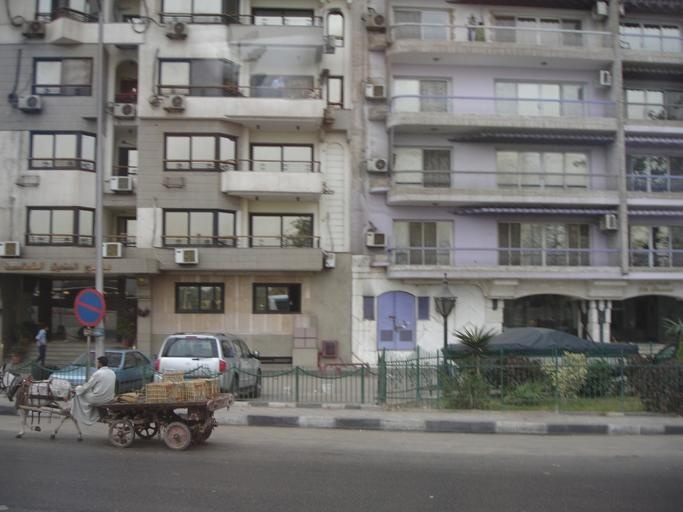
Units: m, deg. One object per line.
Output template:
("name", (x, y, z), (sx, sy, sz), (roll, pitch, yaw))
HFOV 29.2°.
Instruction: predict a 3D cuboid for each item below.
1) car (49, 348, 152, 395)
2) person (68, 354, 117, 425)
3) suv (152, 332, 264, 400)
("car", (-9.501, 4.770, 53.263), (2.540, 1.776, 4.292), (-4, -3, 22))
("person", (-8.772, 4.782, 46.746), (1.225, 2.213, 1.063), (0, -1, 2))
("suv", (-5.312, 4.518, 53.577), (3.290, 2.545, 7.122), (1, -2, 12))
